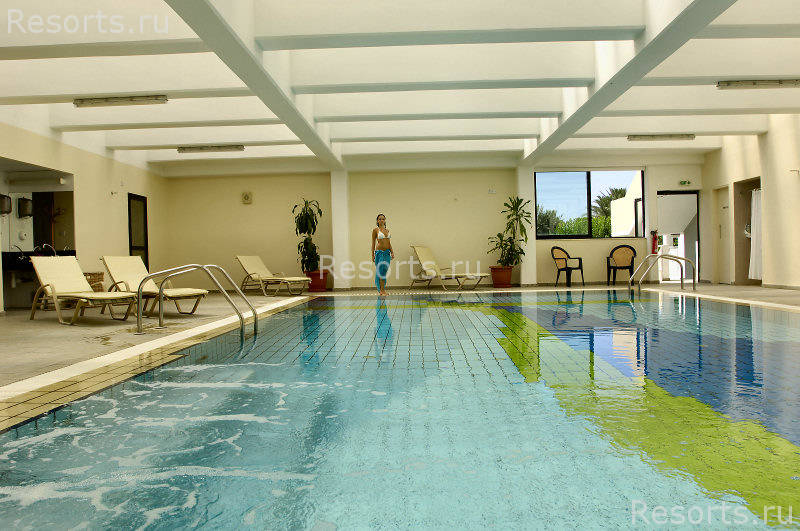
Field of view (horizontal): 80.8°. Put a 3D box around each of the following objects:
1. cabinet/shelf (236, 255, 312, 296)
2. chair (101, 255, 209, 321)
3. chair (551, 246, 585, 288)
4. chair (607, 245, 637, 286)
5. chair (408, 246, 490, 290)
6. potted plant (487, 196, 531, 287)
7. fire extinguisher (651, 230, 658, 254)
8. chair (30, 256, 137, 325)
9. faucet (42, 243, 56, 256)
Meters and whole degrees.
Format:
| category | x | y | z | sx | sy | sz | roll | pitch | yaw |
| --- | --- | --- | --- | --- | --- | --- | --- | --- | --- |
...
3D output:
| category | x | y | z | sx | sy | sz | roll | pitch | yaw |
| --- | --- | --- | --- | --- | --- | --- | --- | --- | --- |
| cabinet/shelf | -3.385 | 0.269 | 12.171 | 2.077 | 1.007 | 1.113 | 1 | 0 | 34 |
| chair | -4.399 | 0.363 | 8.614 | 1.736 | 0.911 | 0.883 | 6 | 1 | 1 |
| chair | 4.684 | 0.004 | 13.175 | 0.853 | 1.000 | 0.832 | -1 | 4 | -11 |
| chair | 6.212 | -0.040 | 13.221 | 0.775 | 1.065 | 0.843 | -1 | 2 | 38 |
| chair | 1.345 | 0.058 | 13.158 | 2.039 | 1.108 | 1.148 | 1 | 1 | 17 |
| potted plant | 3.103 | -0.686 | 13.331 | 1.233 | 2.626 | 1.081 | -6 | 7 | -44 |
| fire extinguisher | 7.236 | -0.687 | 13.445 | 0.185 | 0.630 | 0.115 | -5 | 6 | -35 |
| chair | -5.254 | 0.386 | 7.806 | 1.604 | 0.992 | 0.924 | 3 | 2 | 24 |
| faucet | -7.604 | -0.350 | 10.171 | 0.216 | 0.233 | 0.589 | -5 | 7 | -37 |
